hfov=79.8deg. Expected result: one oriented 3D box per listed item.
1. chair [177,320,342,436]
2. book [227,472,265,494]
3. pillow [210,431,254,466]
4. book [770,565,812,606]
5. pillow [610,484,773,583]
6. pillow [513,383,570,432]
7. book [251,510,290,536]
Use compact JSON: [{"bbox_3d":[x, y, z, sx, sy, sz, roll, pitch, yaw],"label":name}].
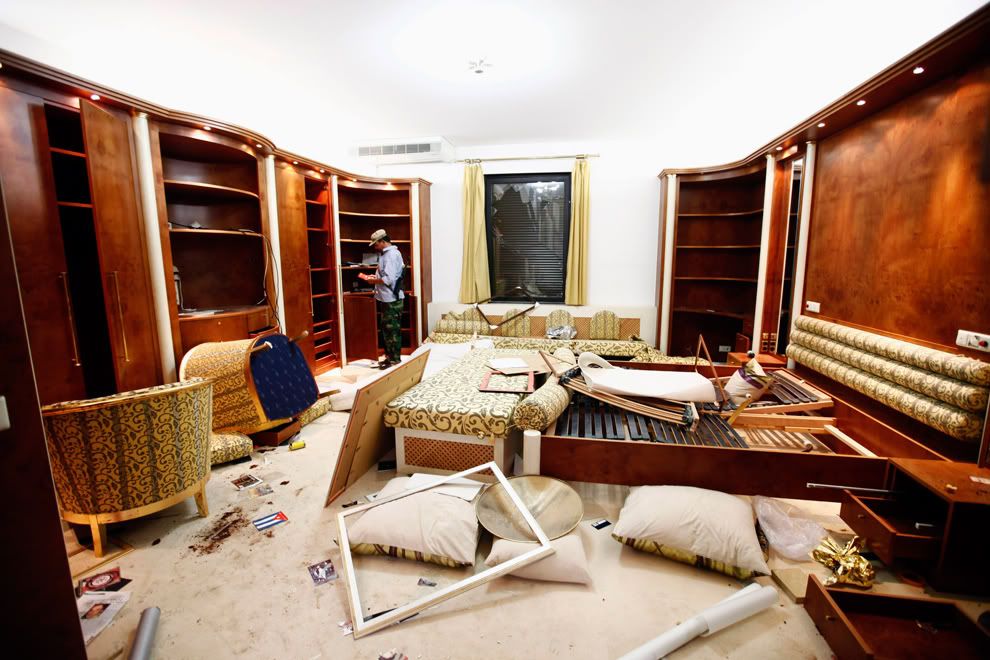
[{"bbox_3d":[-2.023,0.509,5.168,1.125,0.800,0.959,-6,-15,-15],"label":"chair"},{"bbox_3d":[-1.840,1.130,4.402,0.194,0.048,0.227,-7,10,-38],"label":"book"},{"bbox_3d":[-2.085,0.922,4.657,0.248,0.126,0.262,-2,6,-40],"label":"pillow"},{"bbox_3d":[1.787,1.511,3.578,0.159,0.043,0.175,-3,23,7],"label":"book"},{"bbox_3d":[1.232,1.215,3.739,0.608,0.210,0.635,11,15,12],"label":"pillow"},{"bbox_3d":[0.345,0.562,4.282,0.173,0.182,0.569,4,7,33],"label":"pillow"},{"bbox_3d":[-1.524,1.311,4.007,0.222,0.024,0.171,-9,17,-25],"label":"book"}]
